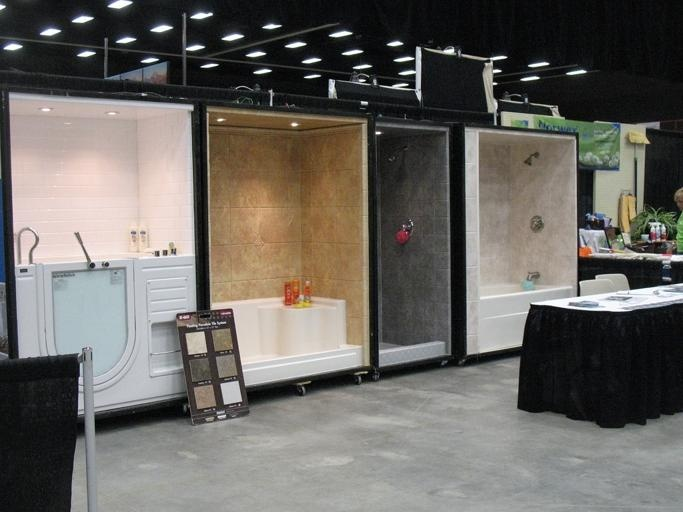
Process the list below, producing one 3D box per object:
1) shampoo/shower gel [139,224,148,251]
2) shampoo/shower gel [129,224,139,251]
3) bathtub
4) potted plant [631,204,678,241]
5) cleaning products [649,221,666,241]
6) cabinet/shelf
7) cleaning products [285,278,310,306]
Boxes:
[{"bbox_3d":[-1.880,-0.175,5.278,0.092,0.253,0.033,-1,3,-4],"label":"shampoo/shower gel"},{"bbox_3d":[-1.975,-0.165,5.290,0.094,0.247,0.052,-2,3,-10],"label":"shampoo/shower gel"},{"bbox_3d":[2.197,0.769,7.050,1.646,0.572,0.505,-3,-3,-29],"label":"bathtub"},{"bbox_3d":[5.472,-0.622,9.821,0.945,0.686,0.971,-2,-2,32],"label":"potted plant"},{"bbox_3d":[5.186,-0.399,9.133,0.307,0.404,0.139,0,-7,0],"label":"cleaning products"},{"bbox_3d":[-1.934,0.520,4.769,1.706,1.558,1.022,-1,-1,-41],"label":"cabinet/shelf"},{"bbox_3d":[-0.463,0.418,6.109,0.316,0.328,0.250,0,0,-42],"label":"cleaning products"}]
